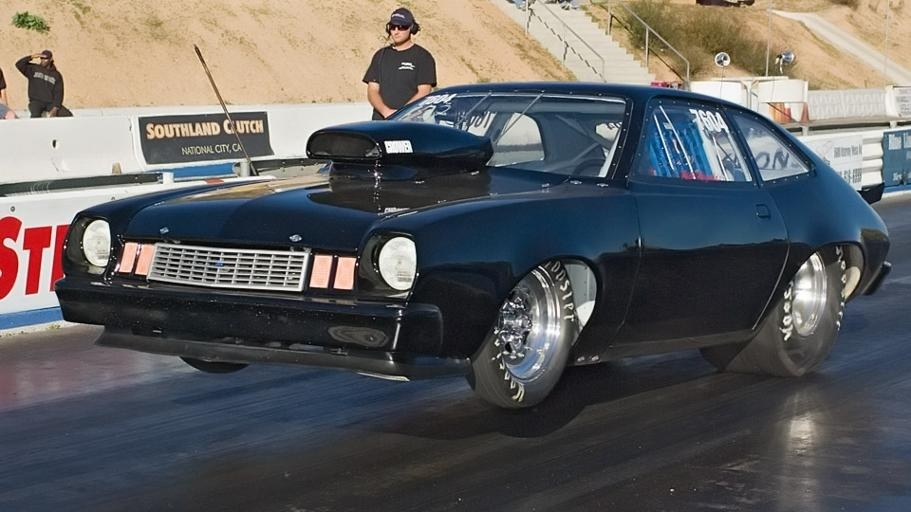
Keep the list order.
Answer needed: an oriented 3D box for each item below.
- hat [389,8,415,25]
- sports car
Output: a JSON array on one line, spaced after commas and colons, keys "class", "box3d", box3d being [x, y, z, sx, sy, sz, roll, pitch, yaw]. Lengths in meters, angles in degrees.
[{"class": "hat", "box3d": [-0.585, -3.343, 9.953, 0.267, 0.165, 0.351, 2, -3, 14]}, {"class": "sports car", "box3d": [0.633, -0.181, 5.822, 4.985, 1.543, 2.815, 1, 0, -40]}]
